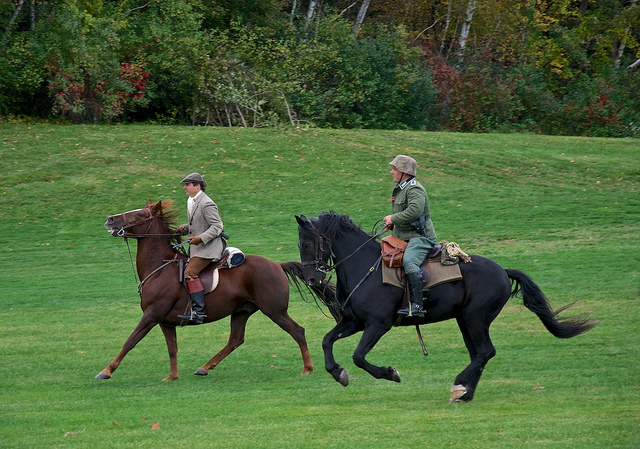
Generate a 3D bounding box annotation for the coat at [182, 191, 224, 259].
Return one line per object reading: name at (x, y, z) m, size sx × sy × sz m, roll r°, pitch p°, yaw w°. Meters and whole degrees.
coat at (-3.839, 0.072, 36.971) m, size 1.939 × 2.071 × 2.034 m, roll -6°, pitch 3°, yaw -22°

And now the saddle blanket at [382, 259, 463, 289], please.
saddle blanket at (3.401, 1.714, 35.102) m, size 3.369 × 0.852 × 1.925 m, roll -3°, pitch 12°, yaw -16°

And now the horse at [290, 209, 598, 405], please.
horse at (2.573, 2.618, 35.317) m, size 6.894 × 5.550 × 1.921 m, roll 11°, pitch 17°, yaw 5°

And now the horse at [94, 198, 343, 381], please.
horse at (-3.335, 2.161, 36.641) m, size 4.180 × 7.716 × 4.981 m, roll 5°, pitch 4°, yaw 39°
